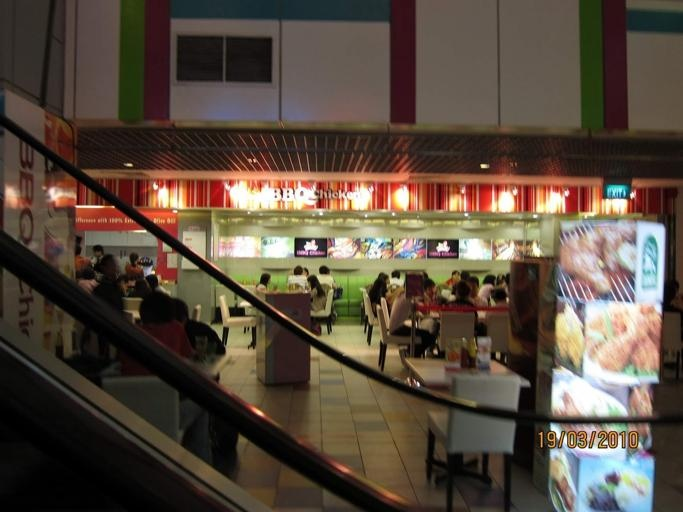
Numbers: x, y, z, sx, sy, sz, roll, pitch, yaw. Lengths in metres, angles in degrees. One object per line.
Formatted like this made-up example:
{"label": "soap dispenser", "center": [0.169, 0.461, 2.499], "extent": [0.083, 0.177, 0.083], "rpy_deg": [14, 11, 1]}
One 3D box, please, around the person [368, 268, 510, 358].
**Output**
{"label": "person", "center": [1.307, 0.902, 10.422], "extent": [1.090, 0.955, 1.721], "rpy_deg": [3, 5, -4]}
